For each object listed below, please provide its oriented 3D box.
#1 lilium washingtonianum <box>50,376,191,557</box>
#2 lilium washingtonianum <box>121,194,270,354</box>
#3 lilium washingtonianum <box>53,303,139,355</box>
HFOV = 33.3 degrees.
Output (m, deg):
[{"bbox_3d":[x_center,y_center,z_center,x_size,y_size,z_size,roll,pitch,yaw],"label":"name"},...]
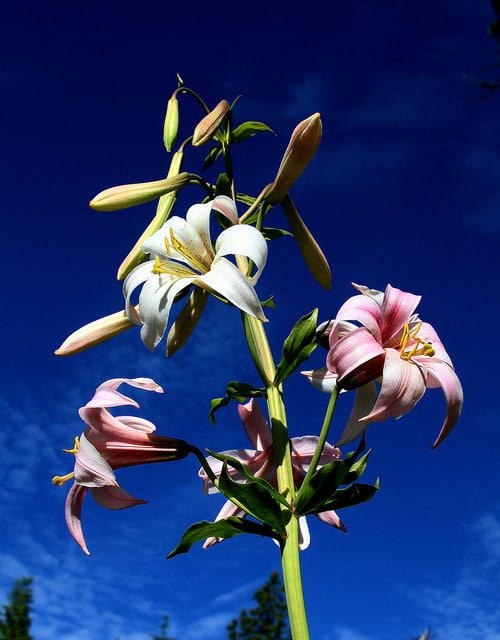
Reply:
[{"bbox_3d":[-0.569,0.516,3.100,0.513,0.634,0.414,-14,-29,26],"label":"lilium washingtonianum"},{"bbox_3d":[-0.216,-0.188,3.017,0.473,0.596,0.458,4,-26,-9],"label":"lilium washingtonianum"},{"bbox_3d":[-0.533,0.030,2.976,0.305,0.075,0.060,-29,0,5],"label":"lilium washingtonianum"}]
